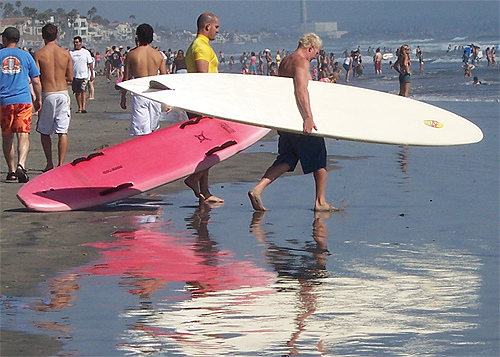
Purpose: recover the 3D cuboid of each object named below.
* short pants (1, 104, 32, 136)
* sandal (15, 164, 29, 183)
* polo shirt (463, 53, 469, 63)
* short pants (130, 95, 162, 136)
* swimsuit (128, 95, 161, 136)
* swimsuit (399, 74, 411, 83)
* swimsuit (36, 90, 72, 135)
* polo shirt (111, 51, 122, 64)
[{"bbox_3d":[-3.047,-0.763,13.570,0.530,0.387,0.258,1,13,-9],"label":"short pants"},{"bbox_3d":[-2.935,-0.047,13.523,0.139,0.108,0.275,-13,-33,1],"label":"sandal"},{"bbox_3d":[9.667,-5.371,46.791,0.295,0.125,0.839,-3,40,15],"label":"polo shirt"},{"bbox_3d":[-1.427,-0.837,13.898,0.478,0.537,0.436,-9,14,-22],"label":"short pants"},{"bbox_3d":[-1.434,-0.853,13.937,0.355,0.518,0.490,8,11,36],"label":"swimsuit"},{"bbox_3d":[3.090,-1.966,20.972,0.277,0.193,0.175,5,16,22],"label":"swimsuit"},{"bbox_3d":[-2.565,-0.862,13.888,0.398,0.575,0.396,-7,10,-41],"label":"swimsuit"},{"bbox_3d":[-4.479,-4.035,35.134,0.265,0.439,0.755,-5,7,-6],"label":"polo shirt"}]
